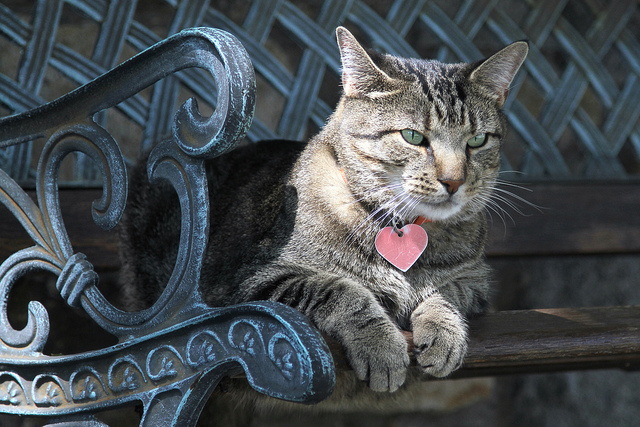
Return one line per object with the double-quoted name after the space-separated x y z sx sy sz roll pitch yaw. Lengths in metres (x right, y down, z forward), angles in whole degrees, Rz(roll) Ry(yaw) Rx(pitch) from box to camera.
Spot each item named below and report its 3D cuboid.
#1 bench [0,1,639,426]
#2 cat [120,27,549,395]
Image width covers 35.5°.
-0.080 -0.041 3.395 1.414 1.091 0.692 -2 2 -33 "bench"
-0.060 -0.025 3.679 1.008 1.178 1.478 1 4 -41 "cat"
